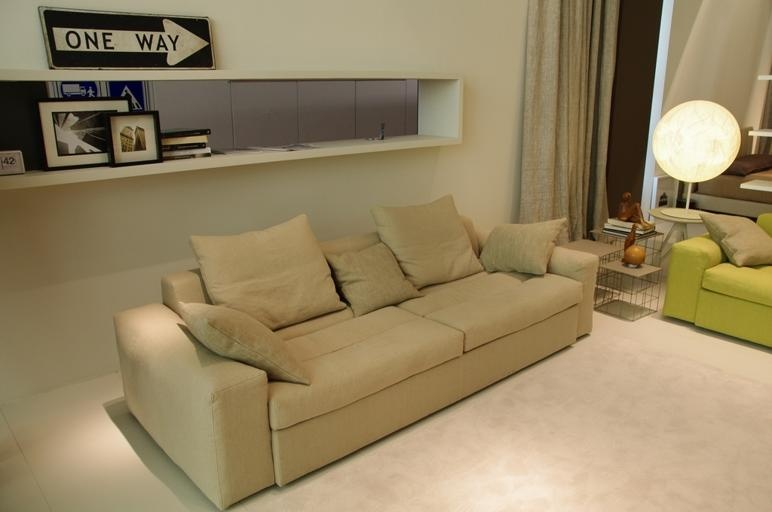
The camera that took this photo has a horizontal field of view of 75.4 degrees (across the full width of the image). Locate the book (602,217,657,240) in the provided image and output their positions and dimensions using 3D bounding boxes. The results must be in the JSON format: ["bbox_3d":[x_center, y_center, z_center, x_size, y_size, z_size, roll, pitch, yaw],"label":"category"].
[{"bbox_3d":[2.336,-0.265,4.806,0.453,0.159,0.205,2,20,23],"label":"book"}]

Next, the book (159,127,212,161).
[{"bbox_3d":[-1.381,-0.774,3.475,0.327,0.197,0.064,-13,21,-20],"label":"book"}]

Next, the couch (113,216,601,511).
[{"bbox_3d":[-0.026,0.446,3.680,3.411,1.104,1.292,-17,22,-31],"label":"couch"}]

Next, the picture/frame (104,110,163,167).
[{"bbox_3d":[-1.663,-0.773,3.275,0.341,0.344,0.056,-14,17,-41],"label":"picture/frame"}]

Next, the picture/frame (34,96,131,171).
[{"bbox_3d":[-1.960,-0.778,3.202,0.479,0.400,0.049,-5,10,-34],"label":"picture/frame"}]

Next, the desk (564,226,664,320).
[{"bbox_3d":[2.097,0.183,4.585,0.397,0.370,0.739,-22,32,-30],"label":"desk"}]
